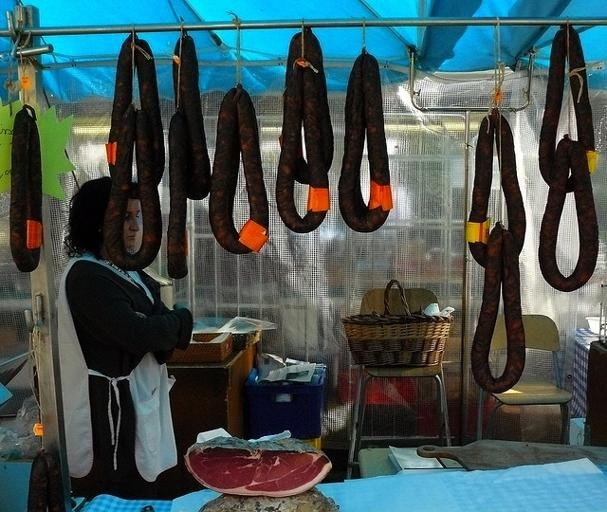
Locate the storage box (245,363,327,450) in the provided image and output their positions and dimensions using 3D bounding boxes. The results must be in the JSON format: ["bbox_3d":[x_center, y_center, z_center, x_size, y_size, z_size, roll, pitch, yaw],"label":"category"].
[{"bbox_3d":[-0.118,0.998,3.680,0.371,0.346,0.531,0,-8,4],"label":"storage box"}]

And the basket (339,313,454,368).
[{"bbox_3d":[0.545,0.491,3.364,0.439,0.192,0.386,0,-2,-2],"label":"basket"}]

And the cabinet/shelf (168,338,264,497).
[{"bbox_3d":[-0.443,1.001,3.583,0.667,1.000,0.659,1,-5,-1],"label":"cabinet/shelf"}]

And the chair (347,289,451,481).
[{"bbox_3d":[0.577,0.749,3.292,0.691,1.051,0.746,2,-1,17],"label":"chair"}]

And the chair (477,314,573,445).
[{"bbox_3d":[1.452,0.820,3.660,0.427,0.764,0.521,1,14,13],"label":"chair"}]

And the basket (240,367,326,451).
[{"bbox_3d":[-0.125,1.003,3.671,0.366,0.347,0.536,0,-8,3],"label":"basket"}]
